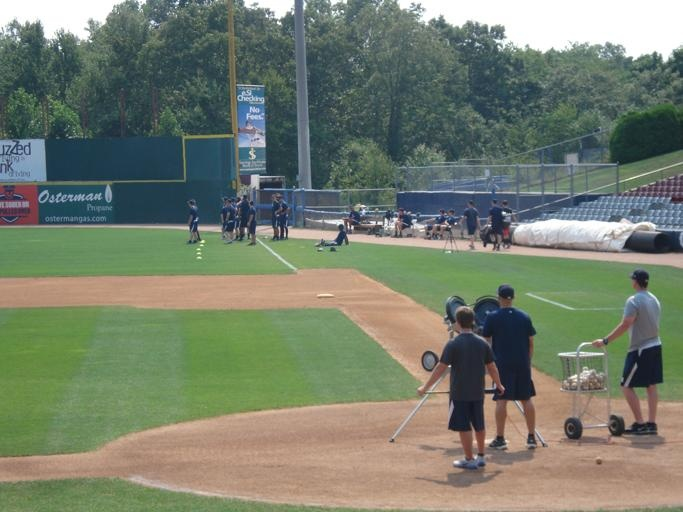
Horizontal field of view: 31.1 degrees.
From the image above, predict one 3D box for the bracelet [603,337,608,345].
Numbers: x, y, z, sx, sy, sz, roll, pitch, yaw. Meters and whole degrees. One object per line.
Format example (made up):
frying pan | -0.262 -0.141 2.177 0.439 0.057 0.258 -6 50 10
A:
bracelet | 7.973 2.484 36.637 0.150 0.218 0.206 1 -8 6
